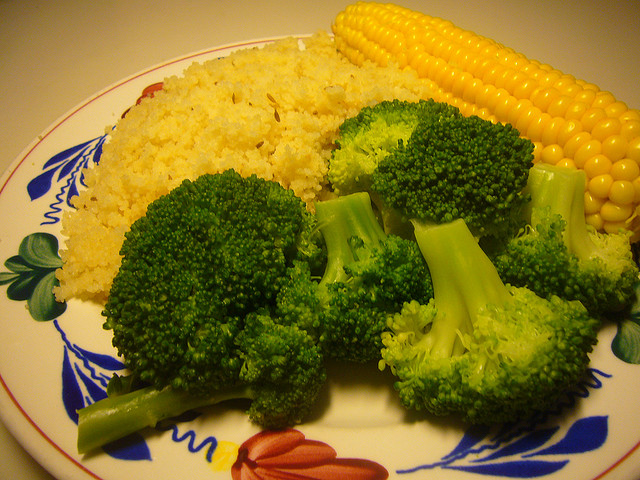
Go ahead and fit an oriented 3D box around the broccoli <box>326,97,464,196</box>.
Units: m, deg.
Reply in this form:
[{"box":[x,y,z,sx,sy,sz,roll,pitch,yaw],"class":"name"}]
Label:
[{"box":[0.287,-0.386,2.491,0.353,0.352,0.483,-30,9,19],"class":"broccoli"}]
